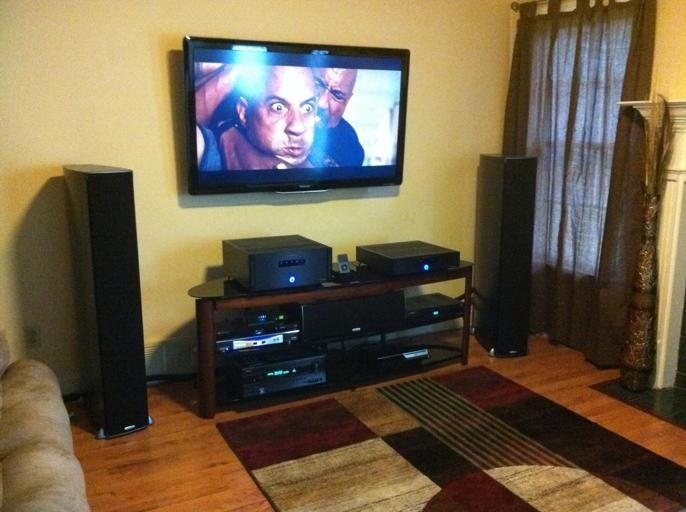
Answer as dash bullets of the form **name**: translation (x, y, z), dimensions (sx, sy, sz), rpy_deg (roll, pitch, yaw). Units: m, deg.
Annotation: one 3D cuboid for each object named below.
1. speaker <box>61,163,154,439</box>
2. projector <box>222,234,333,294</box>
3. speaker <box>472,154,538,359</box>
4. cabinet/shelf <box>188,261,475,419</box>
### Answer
- **speaker**: translation (-1.324, 0.238, 3.526), dimensions (0.395, 1.484, 0.479), rpy_deg (-10, 15, -23)
- **projector**: translation (-0.450, -0.005, 3.797), dimensions (0.420, 0.179, 0.411), rpy_deg (-6, 12, -27)
- **speaker**: translation (1.105, 0.002, 4.413), dimensions (0.461, 1.400, 0.370), rpy_deg (4, 16, 31)
- **cabinet/shelf**: translation (0.161, 0.491, 4.106), dimensions (2.146, 0.830, 0.751), rpy_deg (-9, 11, -29)
